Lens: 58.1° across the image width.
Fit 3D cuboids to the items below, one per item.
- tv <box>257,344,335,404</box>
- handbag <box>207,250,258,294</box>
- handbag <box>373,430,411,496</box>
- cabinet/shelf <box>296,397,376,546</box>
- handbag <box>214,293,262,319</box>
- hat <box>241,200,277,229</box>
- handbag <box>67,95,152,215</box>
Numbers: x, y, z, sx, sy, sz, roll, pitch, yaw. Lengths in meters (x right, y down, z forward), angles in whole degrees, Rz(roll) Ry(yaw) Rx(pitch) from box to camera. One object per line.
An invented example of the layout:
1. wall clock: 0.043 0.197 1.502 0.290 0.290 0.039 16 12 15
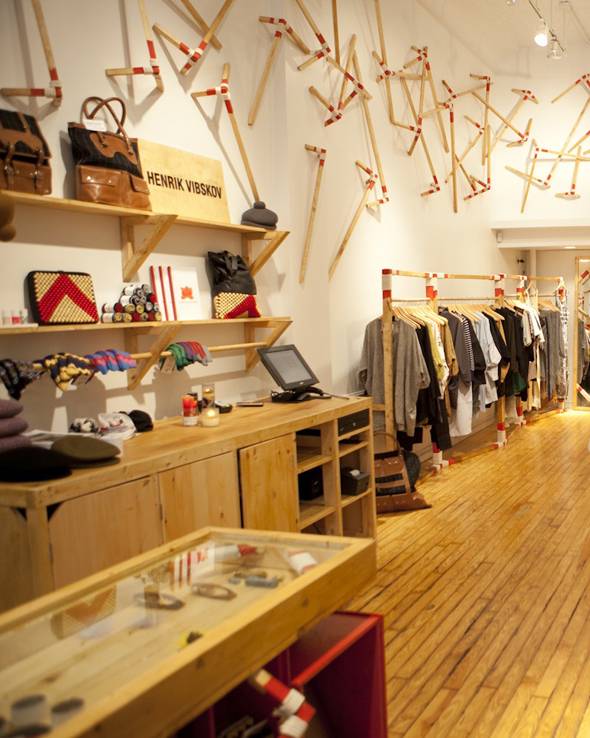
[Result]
1. tv: -0.006 0.020 3.517 0.369 0.447 0.492 -3 2 28
2. handbag: -0.417 -0.619 3.448 0.343 0.281 0.154 3 5 -15
3. handbag: 0.877 0.829 4.826 0.347 0.481 0.767 5 5 9
4. cabinet/shelf: 0.233 0.585 3.195 0.330 0.927 0.959 0 3 23
5. handbag: -0.392 -0.416 3.518 0.120 0.163 0.370 -4 -3 34
6. hat: -0.241 -1.036 3.563 0.247 0.201 0.229 3 5 -12
7. handbag: -0.932 -1.097 2.641 0.288 0.619 0.428 6 5 27
